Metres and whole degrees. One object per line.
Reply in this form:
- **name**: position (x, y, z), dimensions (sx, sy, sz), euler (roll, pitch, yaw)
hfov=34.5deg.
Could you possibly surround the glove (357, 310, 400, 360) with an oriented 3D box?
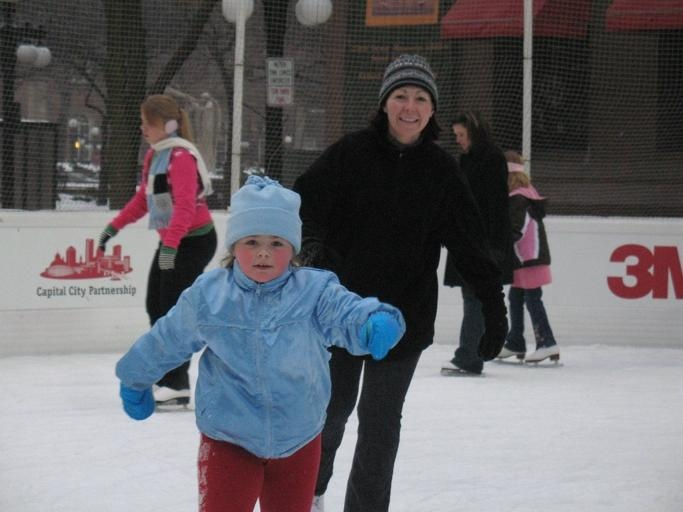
- **glove**: position (0.251, 0.463, 6.606), dimensions (0.281, 0.124, 0.216), euler (-39, -15, 26)

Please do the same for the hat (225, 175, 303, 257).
- **hat**: position (-0.504, -0.216, 7.044), dimensions (0.415, 0.489, 0.486), euler (3, -9, -9)

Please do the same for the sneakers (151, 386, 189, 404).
- **sneakers**: position (-1.453, 1.207, 9.405), dimensions (0.331, 0.169, 0.280), euler (3, 0, 0)

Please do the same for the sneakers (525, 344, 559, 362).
- **sneakers**: position (2.041, 0.993, 11.158), dimensions (0.294, 0.156, 0.178), euler (0, -1, 6)

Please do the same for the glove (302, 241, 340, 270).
- **glove**: position (-0.135, 0.006, 7.292), dimensions (0.188, 0.087, 0.186), euler (7, 17, -6)

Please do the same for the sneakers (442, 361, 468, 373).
- **sneakers**: position (1.105, 1.084, 10.677), dimensions (0.256, 0.118, 0.100), euler (0, -2, 2)

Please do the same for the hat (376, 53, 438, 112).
- **hat**: position (0.450, -1.214, 7.506), dimensions (0.345, 0.353, 0.381), euler (1, -20, 1)
